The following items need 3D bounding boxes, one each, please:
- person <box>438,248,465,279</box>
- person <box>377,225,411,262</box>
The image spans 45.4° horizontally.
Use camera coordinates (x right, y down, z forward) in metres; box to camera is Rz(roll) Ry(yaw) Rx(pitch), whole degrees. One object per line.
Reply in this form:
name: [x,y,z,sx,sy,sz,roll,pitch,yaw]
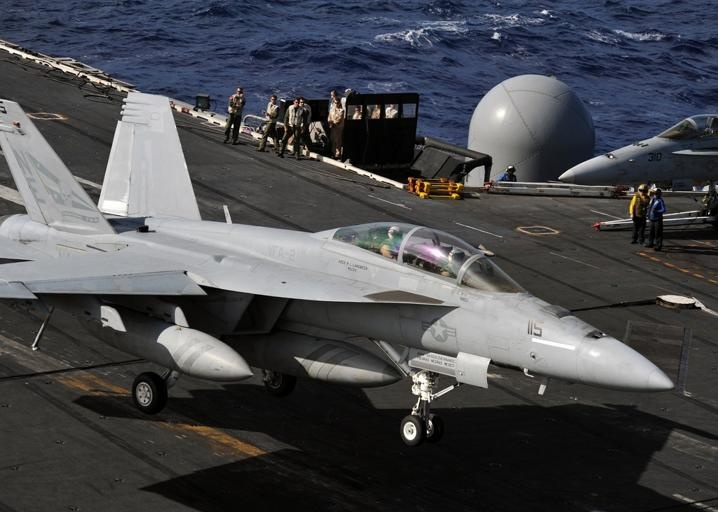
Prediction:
person: [2.036,0.142,18.159,0.407,0.579,0.470,12,21,14]
person: [0.945,-0.279,18.866,0.810,0.702,0.390,16,-9,31]
